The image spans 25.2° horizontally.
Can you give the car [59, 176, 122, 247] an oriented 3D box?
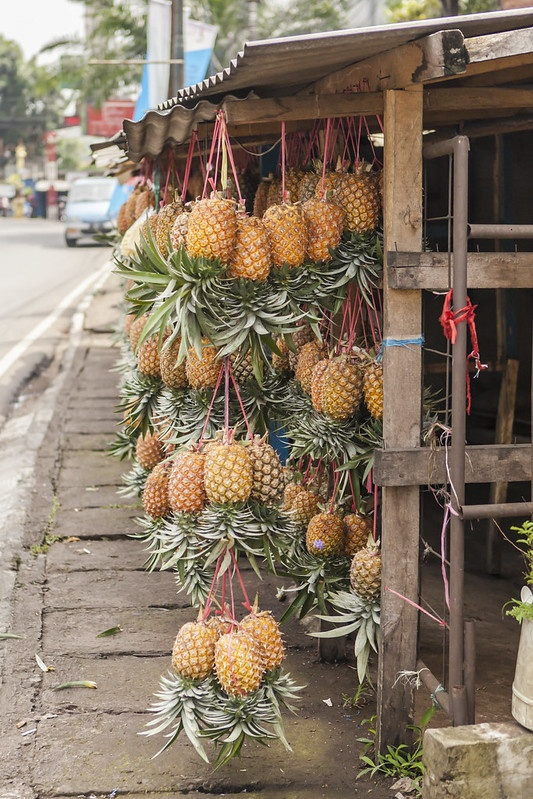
[{"bbox_3d":[-3.485,-3.603,24.290,1.167,1.261,2.396,-2,-1,-11],"label":"car"}]
